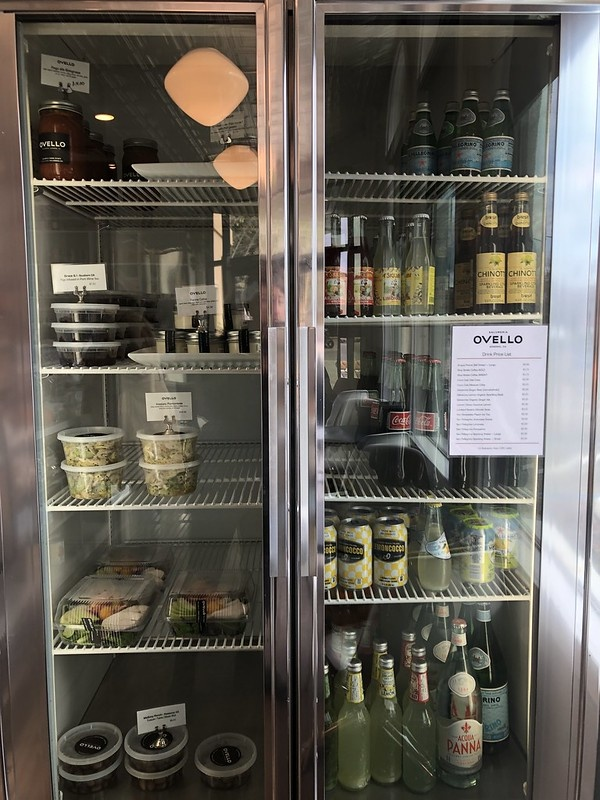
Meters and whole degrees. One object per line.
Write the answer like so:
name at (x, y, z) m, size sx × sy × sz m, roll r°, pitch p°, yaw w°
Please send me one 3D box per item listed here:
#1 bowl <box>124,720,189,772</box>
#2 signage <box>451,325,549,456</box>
bowl at (-0.303, 0.708, 1.334) m, size 0.085 × 0.030 × 0.091 m, roll 1°, pitch 8°, yaw 0°
signage at (0.383, -0.017, 1.252) m, size 0.181 × 0.262 × 0.020 m, roll 1°, pitch -11°, yaw 21°
